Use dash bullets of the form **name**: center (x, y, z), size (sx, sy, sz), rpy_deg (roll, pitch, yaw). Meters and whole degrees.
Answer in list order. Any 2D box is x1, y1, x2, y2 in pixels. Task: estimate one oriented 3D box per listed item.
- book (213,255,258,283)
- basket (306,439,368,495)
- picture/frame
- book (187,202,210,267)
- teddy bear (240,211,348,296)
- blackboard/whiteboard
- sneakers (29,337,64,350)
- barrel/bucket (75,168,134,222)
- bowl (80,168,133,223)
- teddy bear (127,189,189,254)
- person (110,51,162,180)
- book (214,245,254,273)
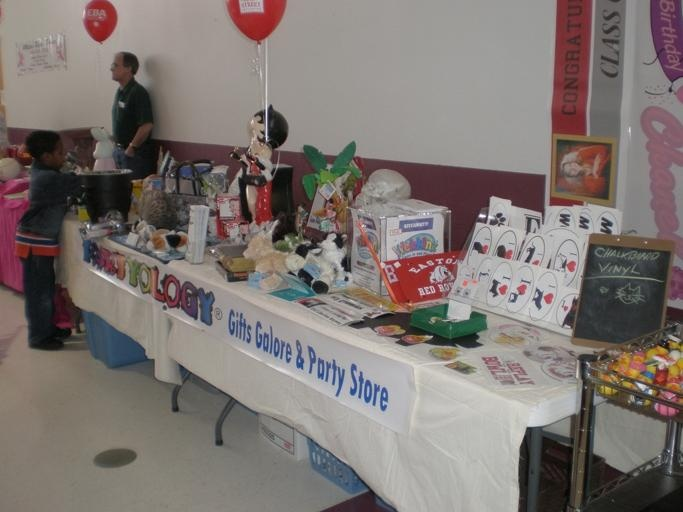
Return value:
- **book**: center (-0.477, 0.046, 2.520), size (0.116, 0.033, 0.126), rpy_deg (27, 31, 33)
- **basket**: center (-0.025, 1.010, 2.692), size (0.207, 0.163, 0.310), rpy_deg (-9, 17, -38)
- **picture/frame**: center (1.002, -0.354, 2.296), size (0.011, 0.303, 0.305), rpy_deg (-8, 11, -27)
- **book**: center (-0.696, -0.116, 2.774), size (0.070, 0.246, 0.168), rpy_deg (2, 3, -41)
- **teddy bear**: center (-0.176, 0.000, 2.409), size (0.312, 0.134, 0.261), rpy_deg (17, -34, -8)
- **blackboard/whiteboard**: center (0.915, 0.123, 1.832), size (0.320, 0.505, 0.038), rpy_deg (4, -11, 29)
- **sneakers**: center (-2.142, 0.639, 4.096), size (0.214, 0.101, 0.092), rpy_deg (-3, 8, -14)
- **barrel/bucket**: center (-1.439, -0.400, 3.490), size (0.294, 0.296, 0.329), rpy_deg (7, 14, 38)
- **bowl**: center (-1.416, -0.425, 3.542), size (0.287, 0.320, 0.342), rpy_deg (5, 14, 27)
- **teddy bear**: center (-1.012, -0.199, 3.062), size (0.294, 0.440, 0.138), rpy_deg (6, -20, -25)
- **person**: center (-1.916, -1.279, 5.132), size (0.430, 1.098, 0.340), rpy_deg (-1, 13, -8)
- **book**: center (-0.501, 0.005, 2.572), size (0.141, 0.037, 0.140), rpy_deg (-10, 28, -36)
